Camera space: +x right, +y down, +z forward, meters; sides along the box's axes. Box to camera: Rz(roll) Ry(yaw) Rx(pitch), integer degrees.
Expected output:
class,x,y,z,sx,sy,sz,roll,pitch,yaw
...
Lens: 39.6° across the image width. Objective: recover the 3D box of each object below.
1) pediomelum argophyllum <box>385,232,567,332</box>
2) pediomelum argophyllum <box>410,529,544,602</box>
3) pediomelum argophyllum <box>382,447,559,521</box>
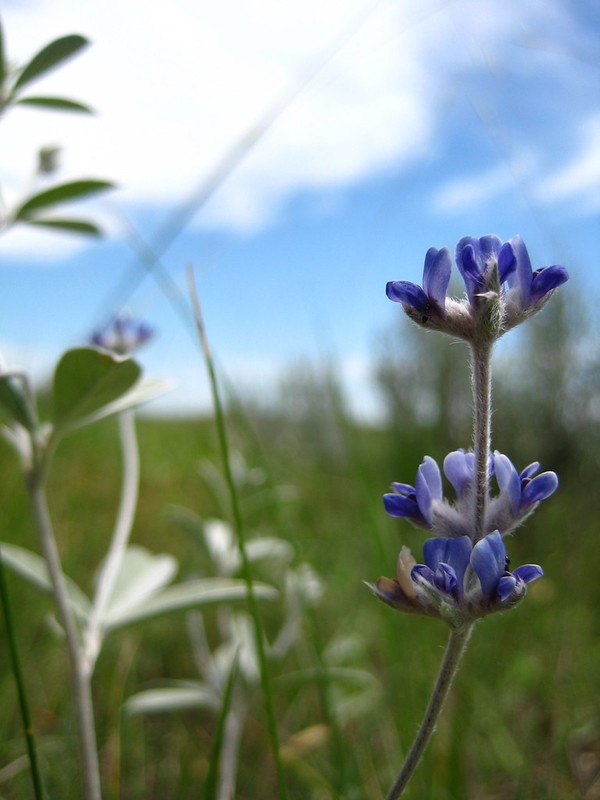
class,x,y,z,sx,sy,sz,roll,pitch,yaw
pediomelum argophyllum,0.141,-0.088,0.655,0.140,0.079,0.060,-16,2,8
pediomelum argophyllum,0.137,0.114,0.607,0.055,0.031,0.070,-15,25,-34
pediomelum argophyllum,0.130,0.069,0.670,0.080,0.040,0.093,-19,4,-28
